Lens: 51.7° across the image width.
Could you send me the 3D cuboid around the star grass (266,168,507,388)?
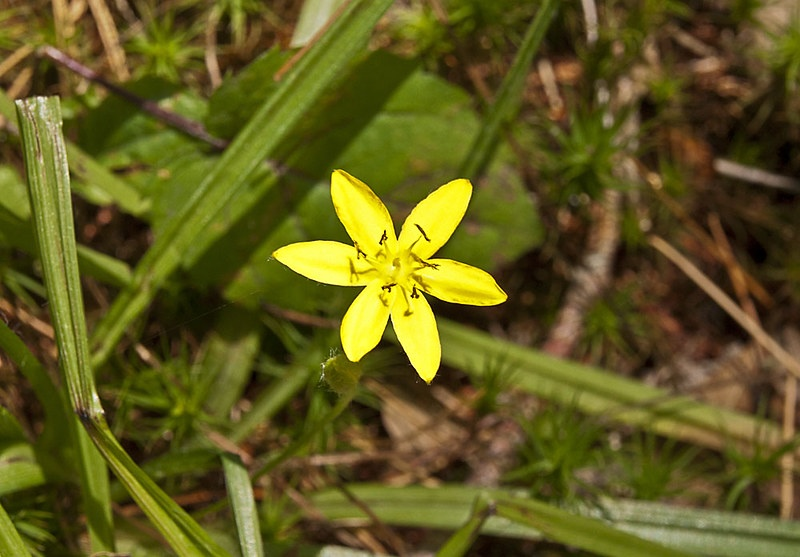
[{"bbox_3d":[-0.048,0.007,3.062,0.743,0.161,0.901,-10,58,-15],"label":"star grass"}]
